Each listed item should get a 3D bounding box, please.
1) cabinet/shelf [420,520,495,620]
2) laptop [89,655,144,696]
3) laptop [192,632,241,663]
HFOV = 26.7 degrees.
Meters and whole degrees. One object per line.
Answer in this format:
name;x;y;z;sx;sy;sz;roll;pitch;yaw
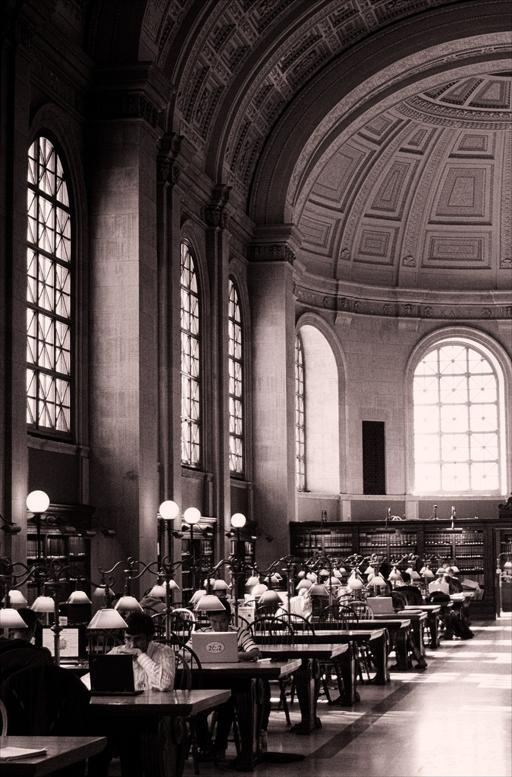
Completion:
cabinet/shelf;4.452;4.037;24.184;1.623;2.591;0.614;-3;12;11
laptop;-0.786;1.583;5.923;0.217;0.279;0.200;2;10;5
laptop;-0.292;1.822;7.545;0.329;0.211;0.214;0;-9;-5
